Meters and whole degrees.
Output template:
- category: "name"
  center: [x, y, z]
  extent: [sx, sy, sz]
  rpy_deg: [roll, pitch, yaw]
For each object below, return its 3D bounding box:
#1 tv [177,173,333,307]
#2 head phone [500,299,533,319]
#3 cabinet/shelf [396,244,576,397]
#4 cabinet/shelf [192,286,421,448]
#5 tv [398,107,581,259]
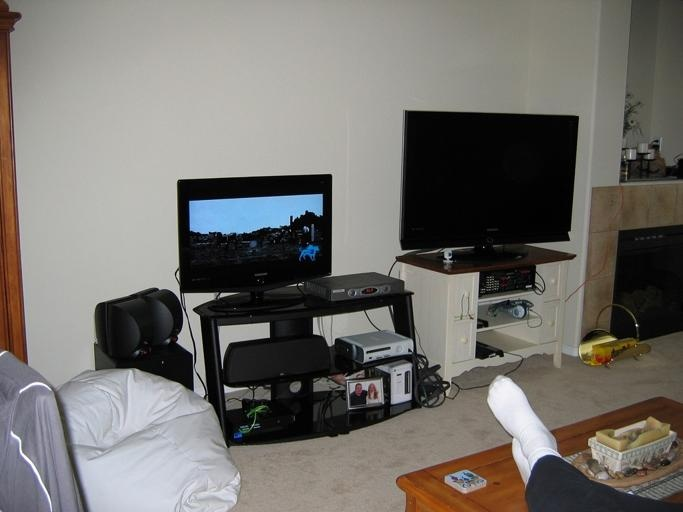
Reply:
- category: "tv"
  center: [-0.507, -0.098, 3.247]
  extent: [0.725, 0.573, 0.194]
  rpy_deg: [-7, 17, -28]
- category: "head phone"
  center: [1.300, 0.396, 4.165]
  extent: [0.165, 0.079, 0.126]
  rpy_deg: [4, 2, -8]
- category: "cabinet/shelf"
  center: [1.098, 0.429, 4.208]
  extent: [1.192, 0.897, 0.602]
  rpy_deg: [-6, 10, -27]
- category: "cabinet/shelf"
  center: [-0.178, 0.658, 3.544]
  extent: [1.294, 0.838, 0.702]
  rpy_deg: [-6, 14, -22]
- category: "tv"
  center: [1.024, -0.528, 3.994]
  extent: [1.076, 0.786, 0.141]
  rpy_deg: [-2, 14, -15]
